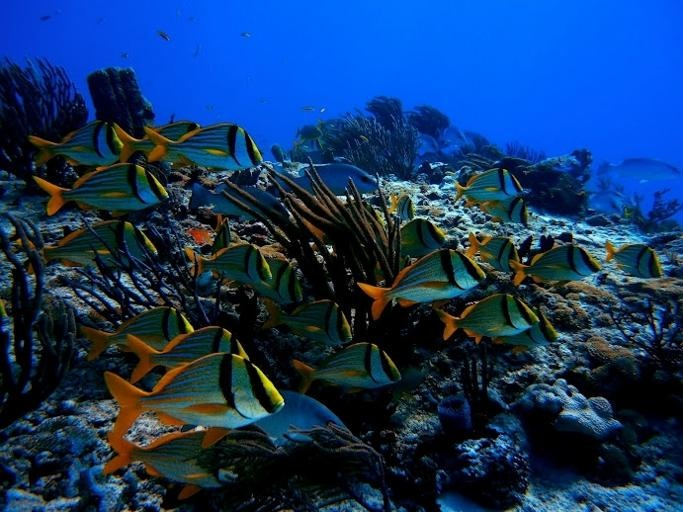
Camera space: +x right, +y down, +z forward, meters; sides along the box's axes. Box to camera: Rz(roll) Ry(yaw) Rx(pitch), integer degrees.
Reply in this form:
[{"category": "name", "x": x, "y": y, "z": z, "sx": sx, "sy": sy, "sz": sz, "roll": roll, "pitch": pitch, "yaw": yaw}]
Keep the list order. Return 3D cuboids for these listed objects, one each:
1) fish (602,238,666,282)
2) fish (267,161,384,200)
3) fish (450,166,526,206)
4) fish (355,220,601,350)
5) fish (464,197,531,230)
[{"category": "fish", "x": 3.576, "y": 0.069, "z": 6.340, "sx": 0.578, "sy": 0.456, "sz": 0.403, "roll": 2, "pitch": 9, "yaw": 29}, {"category": "fish", "x": -0.071, "y": -1.055, "z": 7.253, "sx": 1.940, "sy": 0.566, "sz": 0.519, "roll": 0, "pitch": 9, "yaw": -7}, {"category": "fish", "x": 1.861, "y": -0.853, "z": 6.449, "sx": 1.031, "sy": 0.492, "sz": 0.358, "roll": -1, "pitch": 20, "yaw": 13}, {"category": "fish", "x": 1.534, "y": 0.245, "z": 4.966, "sx": 1.902, "sy": 1.194, "sz": 1.735, "roll": -10, "pitch": 9, "yaw": -41}, {"category": "fish", "x": 2.154, "y": -0.594, "z": 6.786, "sx": 0.755, "sy": 0.475, "sz": 0.611, "roll": -5, "pitch": 5, "yaw": -25}]
